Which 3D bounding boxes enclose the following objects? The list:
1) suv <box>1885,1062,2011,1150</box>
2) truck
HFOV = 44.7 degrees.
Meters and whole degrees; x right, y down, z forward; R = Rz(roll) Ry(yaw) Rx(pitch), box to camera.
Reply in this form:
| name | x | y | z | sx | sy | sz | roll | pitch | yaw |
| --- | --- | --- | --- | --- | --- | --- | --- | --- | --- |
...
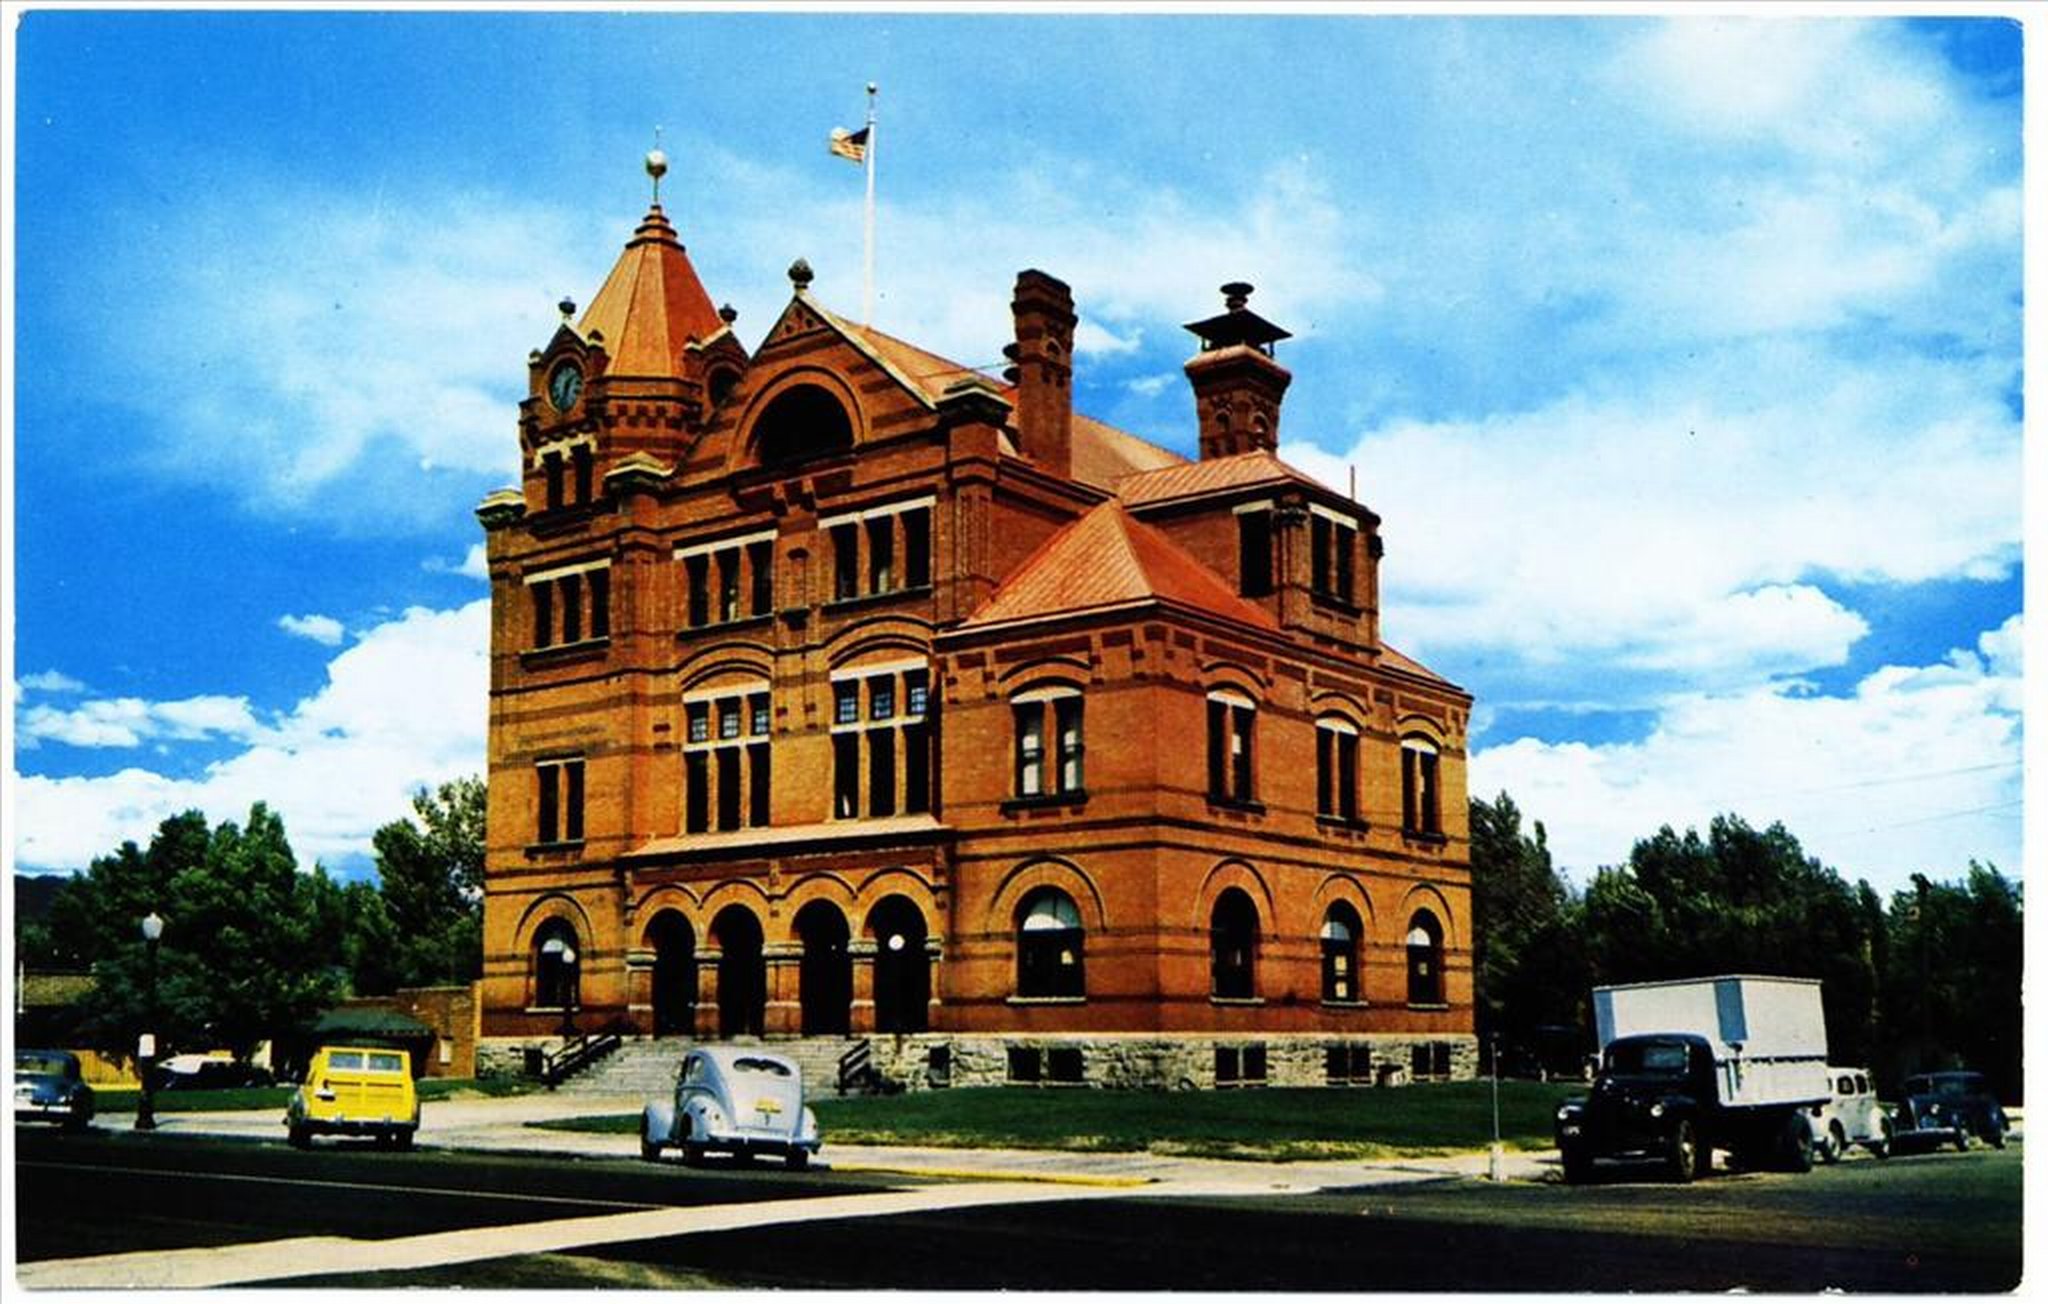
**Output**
| name | x | y | z | sx | sy | sz | roll | pitch | yaw |
| --- | --- | --- | --- | --- | --- | --- | --- | --- | --- |
| suv | 22.741 | 11.361 | 61.526 | 1.772 | 1.837 | 4.884 | 3 | -4 | 38 |
| truck | 14.801 | 9.516 | 55.501 | 3.744 | 4.020 | 7.506 | -10 | -12 | 41 |
